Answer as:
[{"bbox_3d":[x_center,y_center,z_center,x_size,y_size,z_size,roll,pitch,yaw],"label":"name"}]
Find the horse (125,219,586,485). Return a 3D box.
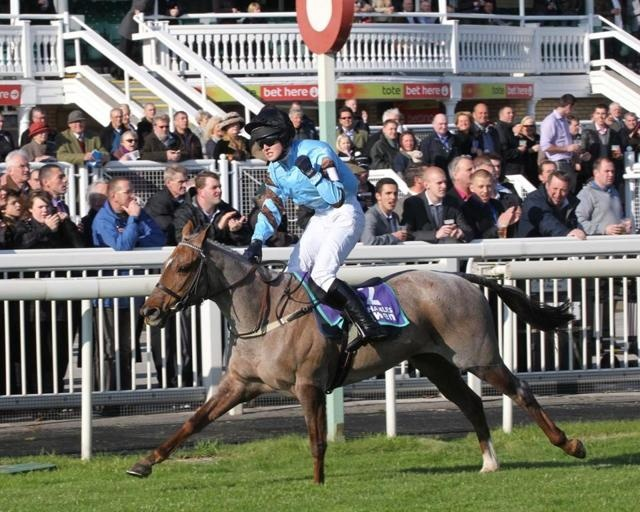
[{"bbox_3d":[0.210,0.810,16.578,3.817,2.335,0.775,-3,3,-9],"label":"horse"}]

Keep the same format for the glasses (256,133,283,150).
[{"bbox_3d":[-0.482,-1.045,16.734,0.257,0.121,0.141,1,4,40],"label":"glasses"}]

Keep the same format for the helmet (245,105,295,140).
[{"bbox_3d":[-0.480,-1.217,16.753,0.284,0.247,0.402,-13,-2,36],"label":"helmet"}]

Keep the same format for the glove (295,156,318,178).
[{"bbox_3d":[-0.121,-0.813,16.608,0.136,0.219,0.087,-41,16,5],"label":"glove"}]
